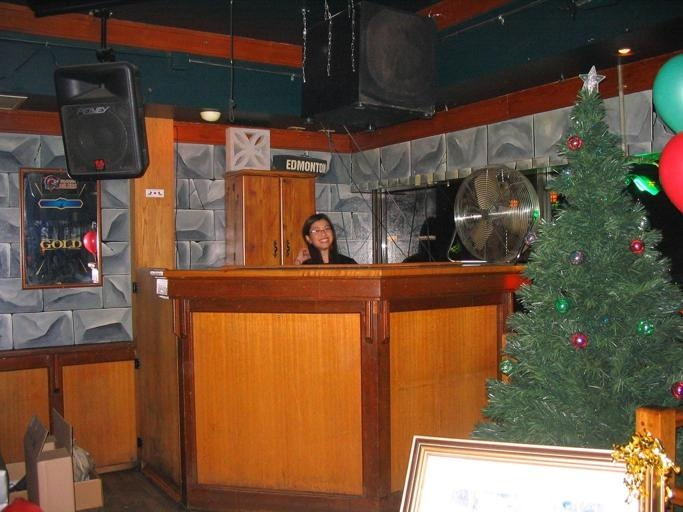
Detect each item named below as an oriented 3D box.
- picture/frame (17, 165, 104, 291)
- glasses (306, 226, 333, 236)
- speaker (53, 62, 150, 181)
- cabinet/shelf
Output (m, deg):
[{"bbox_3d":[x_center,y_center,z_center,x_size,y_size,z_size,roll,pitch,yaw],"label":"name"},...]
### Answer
[{"bbox_3d":[-2.303,-0.232,5.044,0.585,0.958,0.182,-2,6,-31],"label":"picture/frame"},{"bbox_3d":[-0.174,-0.216,5.067,0.187,0.086,0.066,1,5,-6],"label":"glasses"},{"bbox_3d":[-1.526,-0.865,3.917,0.573,0.739,0.171,2,5,10],"label":"speaker"},{"bbox_3d":[-0.626,-0.361,5.626,0.750,0.842,0.323,1,5,-5],"label":"cabinet/shelf"}]
